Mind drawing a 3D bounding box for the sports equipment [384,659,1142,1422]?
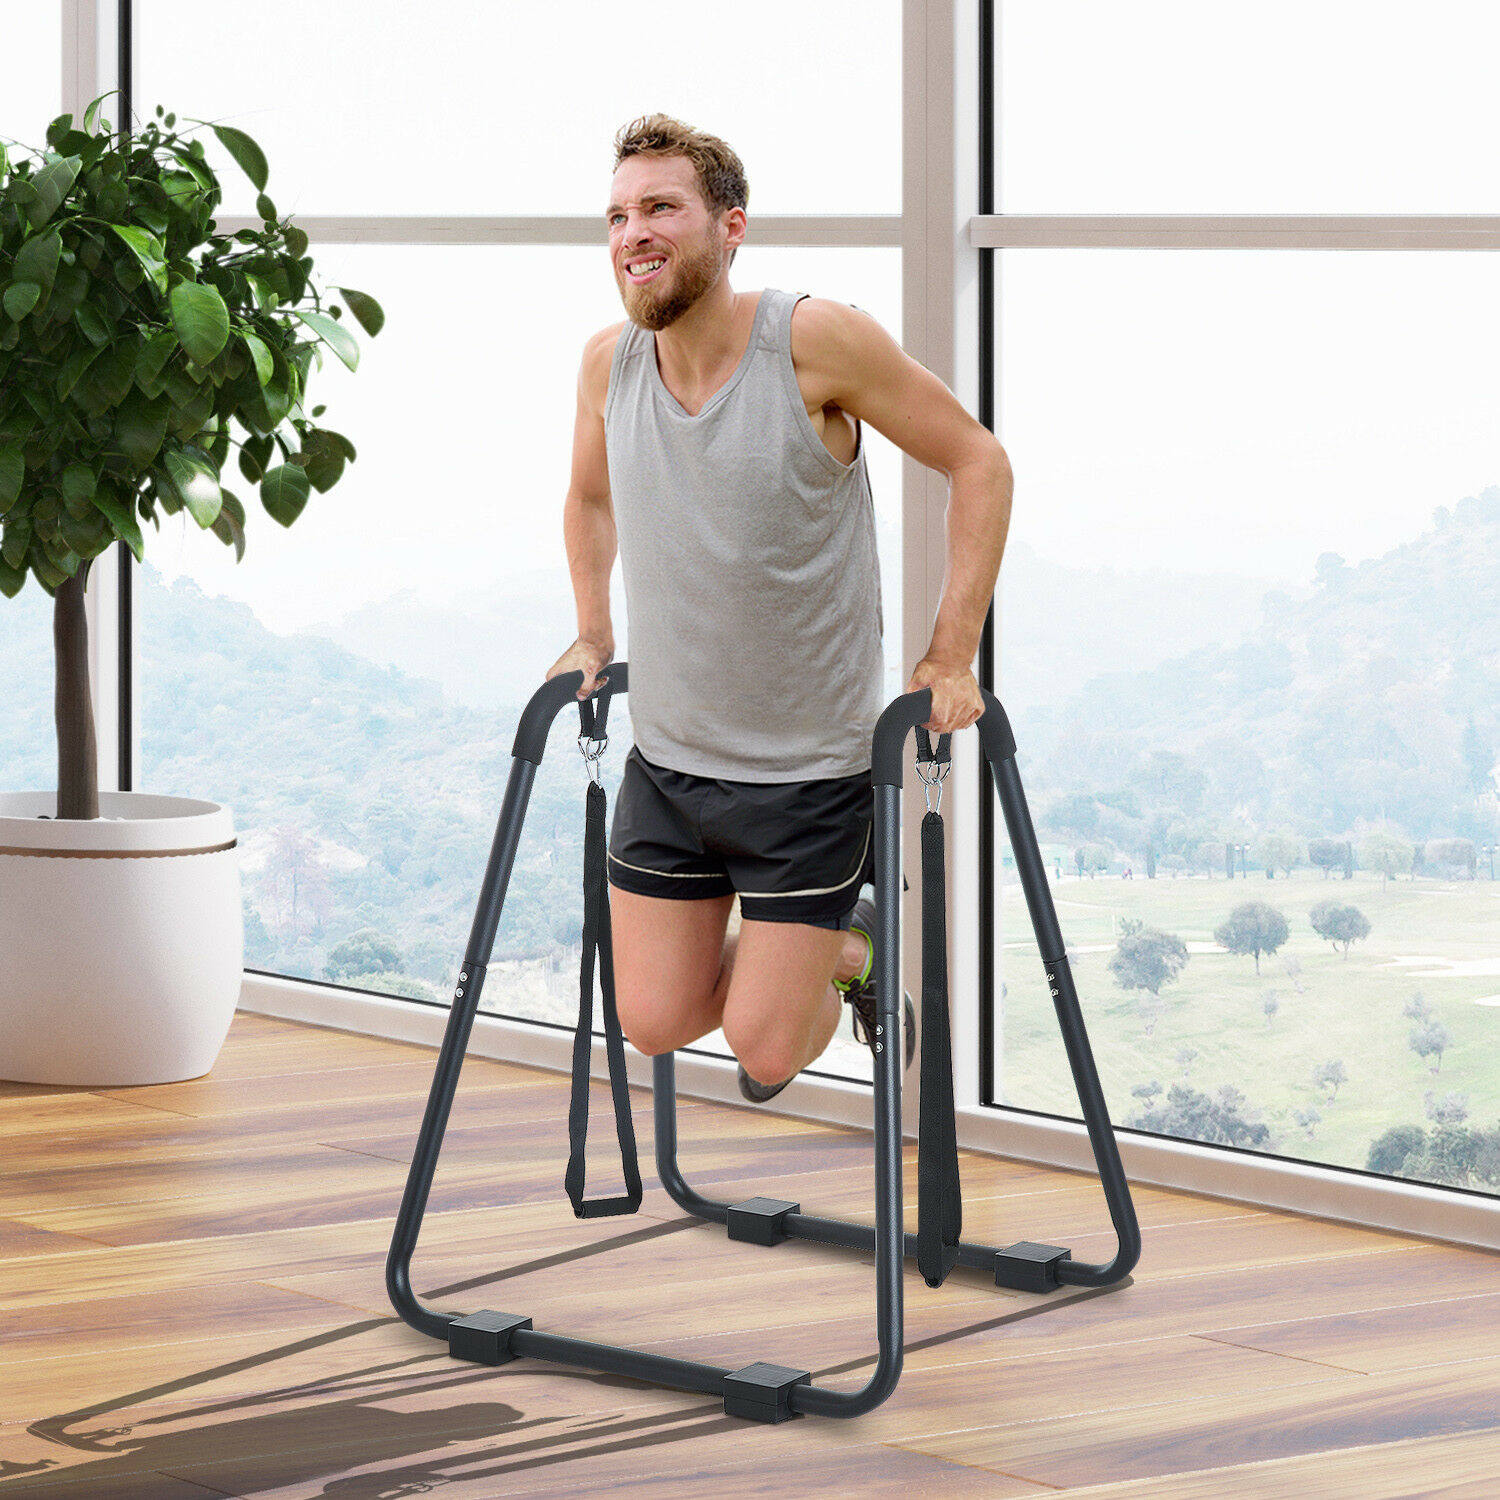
[{"bbox_3d":[0.091,0.244,2.167,0.972,0.960,0.836,2,3,34],"label":"sports equipment"}]

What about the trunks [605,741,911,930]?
[{"bbox_3d":[0.008,0.076,2.121,0.357,0.235,0.205,5,2,38],"label":"trunks"}]

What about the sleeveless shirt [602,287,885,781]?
[{"bbox_3d":[0.055,-0.264,2.100,0.417,0.586,0.361,-3,8,23],"label":"sleeveless shirt"}]

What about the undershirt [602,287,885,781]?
[{"bbox_3d":[-0.012,-0.233,1.993,0.303,0.548,0.167,1,3,2],"label":"undershirt"}]
